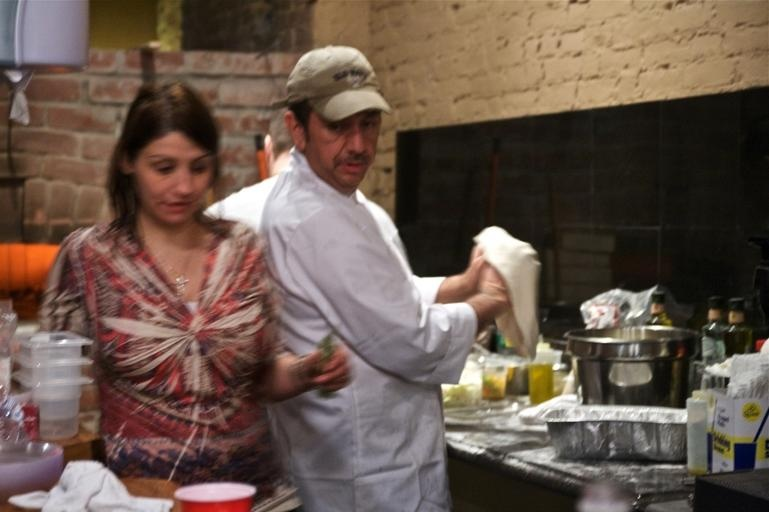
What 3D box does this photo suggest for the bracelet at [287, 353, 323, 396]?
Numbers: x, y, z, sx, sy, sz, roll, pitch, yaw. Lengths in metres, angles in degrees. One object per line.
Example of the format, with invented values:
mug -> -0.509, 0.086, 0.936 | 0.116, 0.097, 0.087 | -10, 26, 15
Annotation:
bracelet -> -0.184, 0.269, 1.840 | 0.097, 0.094, 0.027 | 1, 0, 38

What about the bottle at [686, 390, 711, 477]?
bottle -> 0.834, 0.479, 2.125 | 0.055, 0.218, 0.250 | 1, -1, 20

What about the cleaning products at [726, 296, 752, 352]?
cleaning products -> 1.126, 0.224, 2.518 | 0.085, 0.180, 0.064 | 1, 0, 13

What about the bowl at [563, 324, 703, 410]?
bowl -> 0.742, 0.310, 2.470 | 0.296, 0.210, 0.296 | -2, -2, 0

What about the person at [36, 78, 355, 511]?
person -> -0.456, 0.071, 1.875 | 0.716, 0.983, 0.188 | 1, 0, -4

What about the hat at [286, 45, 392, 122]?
hat -> -0.145, -0.489, 2.200 | 0.273, 0.183, 0.367 | -13, 22, -17

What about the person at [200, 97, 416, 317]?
person -> -0.240, -0.158, 2.336 | 0.820, 0.280, 0.852 | 7, 12, -7

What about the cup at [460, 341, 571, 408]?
cup -> 0.491, 0.419, 2.868 | 0.320, 0.117, 0.226 | -1, -2, -12

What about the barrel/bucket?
barrel/bucket -> 0.820, 0.326, 2.496 | 0.377, 0.270, 0.371 | -6, 10, 1

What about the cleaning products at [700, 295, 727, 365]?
cleaning products -> 1.079, 0.247, 2.601 | 0.092, 0.241, 0.089 | -2, 18, 13

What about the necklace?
necklace -> -0.548, -0.004, 1.942 | 0.156, 0.202, 0.062 | -19, -8, -38
